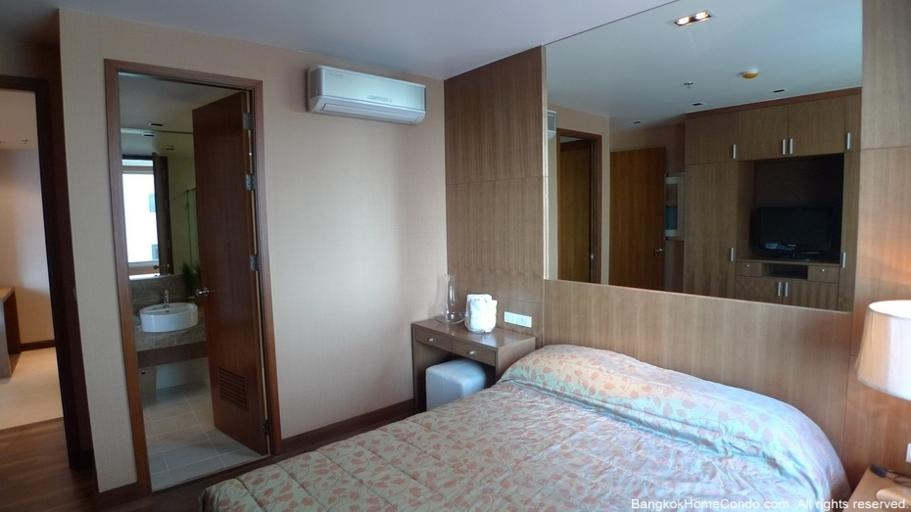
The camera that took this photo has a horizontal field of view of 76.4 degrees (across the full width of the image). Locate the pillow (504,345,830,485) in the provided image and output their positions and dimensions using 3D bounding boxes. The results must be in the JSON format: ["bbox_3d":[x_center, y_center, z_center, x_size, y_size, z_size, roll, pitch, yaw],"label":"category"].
[{"bbox_3d":[1.696,1.427,4.782,2.392,0.540,0.754,13,33,20],"label":"pillow"}]

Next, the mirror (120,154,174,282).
[{"bbox_3d":[-3.183,-0.257,5.904,0.605,1.449,0.042,-5,-15,25],"label":"mirror"}]

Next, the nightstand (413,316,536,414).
[{"bbox_3d":[0.130,1.122,5.709,1.105,0.796,0.543,10,15,40],"label":"nightstand"}]

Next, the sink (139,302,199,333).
[{"bbox_3d":[-3.052,0.587,6.141,0.416,0.147,0.362,-3,11,-33],"label":"sink"}]

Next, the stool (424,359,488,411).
[{"bbox_3d":[0.001,1.181,5.575,0.508,0.400,0.498,0,3,32],"label":"stool"}]

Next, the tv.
[{"bbox_3d":[2.572,-0.359,4.395,0.111,0.819,0.665,-8,7,-32],"label":"tv"}]
